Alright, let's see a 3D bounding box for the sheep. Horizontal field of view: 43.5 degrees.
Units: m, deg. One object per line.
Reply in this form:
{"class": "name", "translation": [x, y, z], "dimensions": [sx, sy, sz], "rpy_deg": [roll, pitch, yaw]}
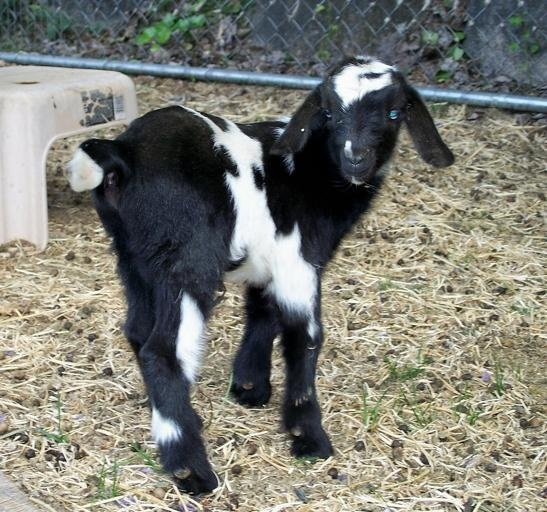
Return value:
{"class": "sheep", "translation": [-0.104, 0.055, 3.063], "dimensions": [0.859, 1.571, 2.137], "rpy_deg": [5, 6, 37]}
